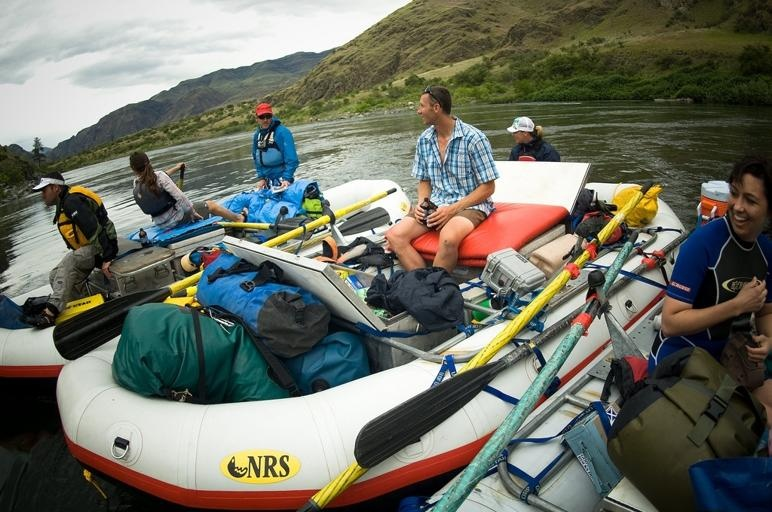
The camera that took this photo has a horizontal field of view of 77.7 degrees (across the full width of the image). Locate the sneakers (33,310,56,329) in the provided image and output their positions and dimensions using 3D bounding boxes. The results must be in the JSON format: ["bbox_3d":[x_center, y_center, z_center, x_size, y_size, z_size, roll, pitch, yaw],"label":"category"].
[{"bbox_3d":[-4.114,0.747,5.815,0.230,0.206,0.124,-19,25,-30],"label":"sneakers"}]

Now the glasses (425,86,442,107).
[{"bbox_3d":[0.509,-1.758,5.197,0.058,0.203,0.200,-38,-1,24],"label":"glasses"}]

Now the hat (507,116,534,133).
[{"bbox_3d":[2.174,-2.117,7.701,0.379,0.233,0.421,1,21,18],"label":"hat"}]

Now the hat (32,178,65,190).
[{"bbox_3d":[-4.300,-0.935,6.137,0.237,0.112,0.352,3,15,33],"label":"hat"}]

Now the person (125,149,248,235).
[{"bbox_3d":[-3.078,-1.058,7.772,0.957,1.093,1.997,7,12,29],"label":"person"}]

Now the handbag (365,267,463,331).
[{"bbox_3d":[0.266,0.340,4.491,0.591,0.309,0.827,-15,19,-39],"label":"handbag"}]

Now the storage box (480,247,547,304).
[{"bbox_3d":[1.167,0.204,4.356,0.432,0.313,0.485,-2,36,-32],"label":"storage box"}]

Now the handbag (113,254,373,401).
[{"bbox_3d":[-1.215,0.719,4.201,1.685,0.610,1.523,2,15,5],"label":"handbag"}]

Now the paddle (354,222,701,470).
[{"bbox_3d":[1.095,0.670,3.997,3.135,0.206,0.784,-30,58,-26],"label":"paddle"}]

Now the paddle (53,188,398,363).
[{"bbox_3d":[-1.837,0.190,5.396,4.827,0.481,0.658,-22,28,-17],"label":"paddle"}]

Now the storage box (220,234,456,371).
[{"bbox_3d":[-0.197,0.135,4.382,1.342,0.523,1.639,-11,20,-38],"label":"storage box"}]
